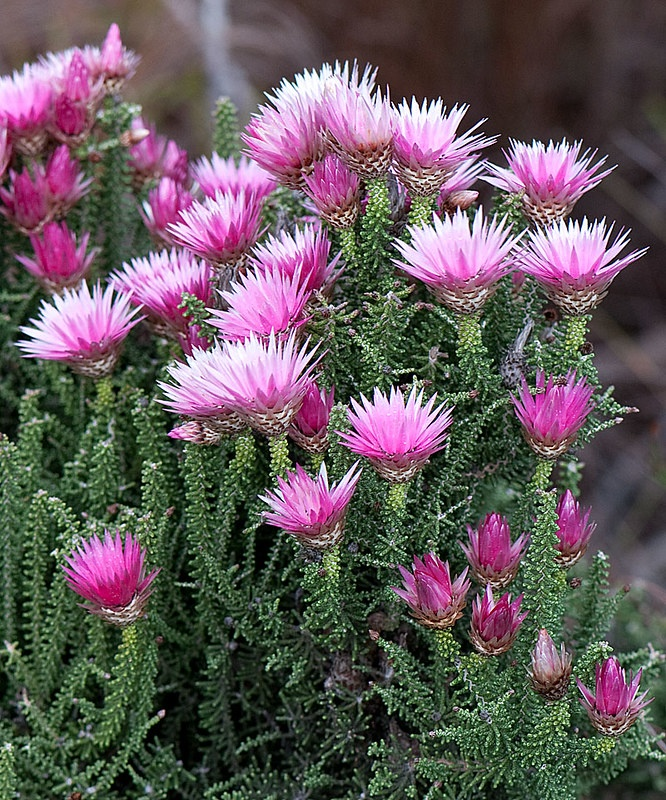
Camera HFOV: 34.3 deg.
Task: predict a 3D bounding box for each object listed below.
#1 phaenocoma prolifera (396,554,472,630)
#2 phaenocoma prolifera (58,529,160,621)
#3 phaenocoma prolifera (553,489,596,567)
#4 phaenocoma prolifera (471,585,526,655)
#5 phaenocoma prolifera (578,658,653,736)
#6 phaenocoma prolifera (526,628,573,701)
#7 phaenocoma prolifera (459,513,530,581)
[{"bbox_3d":[0.070,0.139,0.760,0.043,0.051,0.044,-19,17,-36],"label":"phaenocoma prolifera"},{"bbox_3d":[-0.161,0.130,0.794,0.065,0.073,0.066,6,11,35],"label":"phaenocoma prolifera"},{"bbox_3d":[0.178,0.096,0.806,0.033,0.056,0.032,1,2,-16],"label":"phaenocoma prolifera"},{"bbox_3d":[0.114,0.162,0.764,0.036,0.040,0.036,15,15,40],"label":"phaenocoma prolifera"},{"bbox_3d":[0.193,0.210,0.756,0.048,0.053,0.047,0,4,-14],"label":"phaenocoma prolifera"},{"bbox_3d":[0.153,0.185,0.750,0.027,0.045,0.026,-14,-5,-19],"label":"phaenocoma prolifera"},{"bbox_3d":[0.117,0.113,0.786,0.041,0.053,0.044,6,8,-4],"label":"phaenocoma prolifera"}]
